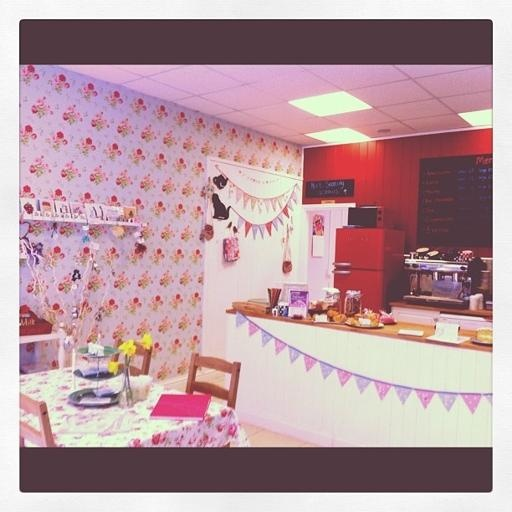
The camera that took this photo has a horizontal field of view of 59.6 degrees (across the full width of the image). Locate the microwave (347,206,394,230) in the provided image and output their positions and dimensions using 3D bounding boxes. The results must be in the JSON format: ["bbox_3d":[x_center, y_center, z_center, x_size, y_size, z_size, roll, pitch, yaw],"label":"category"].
[{"bbox_3d":[1.399,-0.470,5.415,0.296,0.241,0.406,-5,8,-42],"label":"microwave"}]

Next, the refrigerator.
[{"bbox_3d":[1.244,0.163,5.572,0.582,1.214,0.490,2,19,10],"label":"refrigerator"}]

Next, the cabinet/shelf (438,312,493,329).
[{"bbox_3d":[2.088,0.662,4.550,0.513,0.144,0.112,5,10,38],"label":"cabinet/shelf"}]

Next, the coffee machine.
[{"bbox_3d":[2.050,0.305,5.030,0.673,0.521,0.375,4,8,43],"label":"coffee machine"}]

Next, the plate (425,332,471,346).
[{"bbox_3d":[1.217,0.521,2.812,0.281,0.050,0.207,-1,8,-4],"label":"plate"}]

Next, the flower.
[{"bbox_3d":[-0.603,0.616,2.248,0.214,0.348,0.202,2,-6,-23],"label":"flower"}]

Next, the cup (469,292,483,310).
[{"bbox_3d":[2.259,0.476,4.615,0.132,0.157,0.143,-1,8,0],"label":"cup"}]

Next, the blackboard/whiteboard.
[{"bbox_3d":[2.286,-0.645,5.103,1.045,1.362,0.133,-1,-3,39],"label":"blackboard/whiteboard"}]
